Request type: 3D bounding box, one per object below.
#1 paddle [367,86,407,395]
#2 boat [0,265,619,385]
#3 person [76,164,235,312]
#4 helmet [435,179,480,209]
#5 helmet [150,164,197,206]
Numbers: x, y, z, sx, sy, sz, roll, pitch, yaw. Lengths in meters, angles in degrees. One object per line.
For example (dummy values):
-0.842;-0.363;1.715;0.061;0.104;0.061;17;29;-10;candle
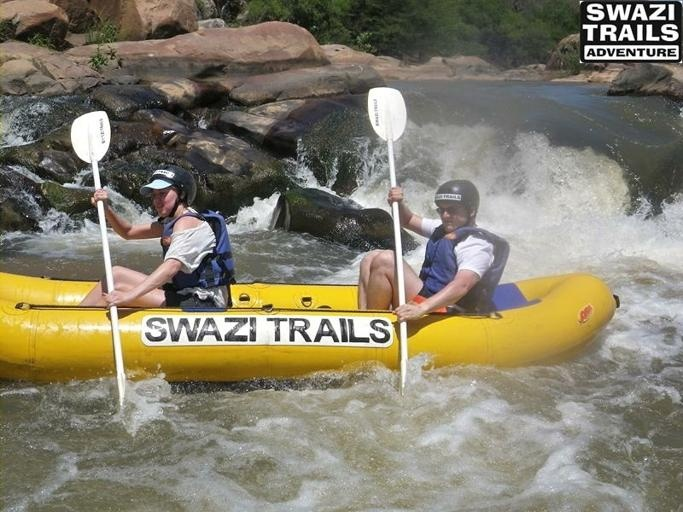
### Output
0.569;-0.383;9.736;0.420;3.122;0.227;2;-16;-11;paddle
-0.474;0.796;9.773;6.904;1.208;2.167;0;8;-2;boat
-1.927;-0.065;9.401;1.887;1.564;1.063;-3;7;-22;person
1.145;-0.675;9.437;0.363;0.271;0.277;-12;18;-14;helmet
-1.684;-0.734;9.451;0.467;0.273;0.310;20;-9;-35;helmet
